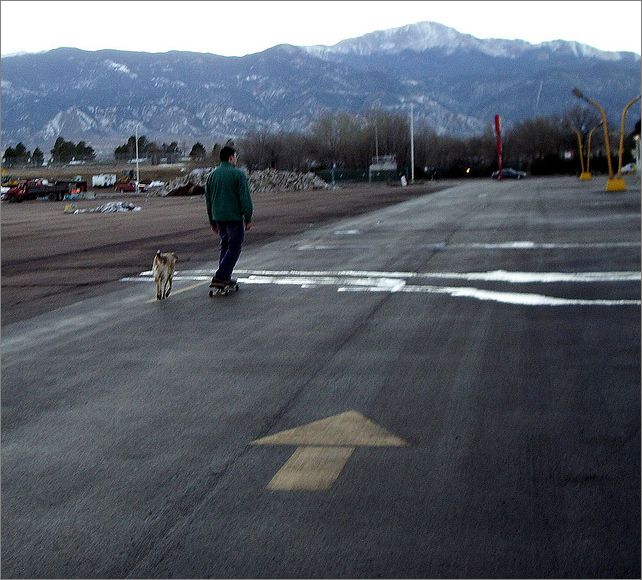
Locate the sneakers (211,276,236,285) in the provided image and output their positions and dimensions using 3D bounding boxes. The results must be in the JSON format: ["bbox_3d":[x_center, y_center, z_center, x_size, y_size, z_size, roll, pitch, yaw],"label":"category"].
[{"bbox_3d":[-1.704,-0.195,8.939,0.396,0.232,0.167,-7,13,-19],"label":"sneakers"}]

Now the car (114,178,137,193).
[{"bbox_3d":[-28.584,-15.570,75.500,2.153,1.777,3.334,1,12,16],"label":"car"}]

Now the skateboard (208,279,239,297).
[{"bbox_3d":[-1.720,-0.019,8.955,0.499,0.313,0.252,-16,23,-27],"label":"skateboard"}]

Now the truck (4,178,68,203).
[{"bbox_3d":[-31.869,-11.099,56.903,5.521,2.705,2.842,-2,10,-14],"label":"truck"}]
